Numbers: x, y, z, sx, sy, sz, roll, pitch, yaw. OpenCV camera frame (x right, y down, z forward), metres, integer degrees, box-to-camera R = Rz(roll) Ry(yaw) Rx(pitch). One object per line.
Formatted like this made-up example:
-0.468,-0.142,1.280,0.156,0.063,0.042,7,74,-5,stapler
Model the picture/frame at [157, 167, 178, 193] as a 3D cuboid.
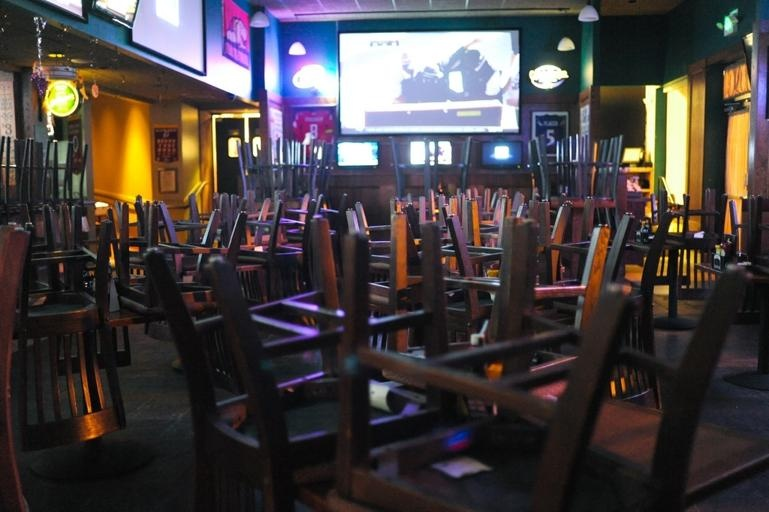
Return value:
-4.010,-1.415,11.276,0.469,0.522,0.055,1,4,4,picture/frame
